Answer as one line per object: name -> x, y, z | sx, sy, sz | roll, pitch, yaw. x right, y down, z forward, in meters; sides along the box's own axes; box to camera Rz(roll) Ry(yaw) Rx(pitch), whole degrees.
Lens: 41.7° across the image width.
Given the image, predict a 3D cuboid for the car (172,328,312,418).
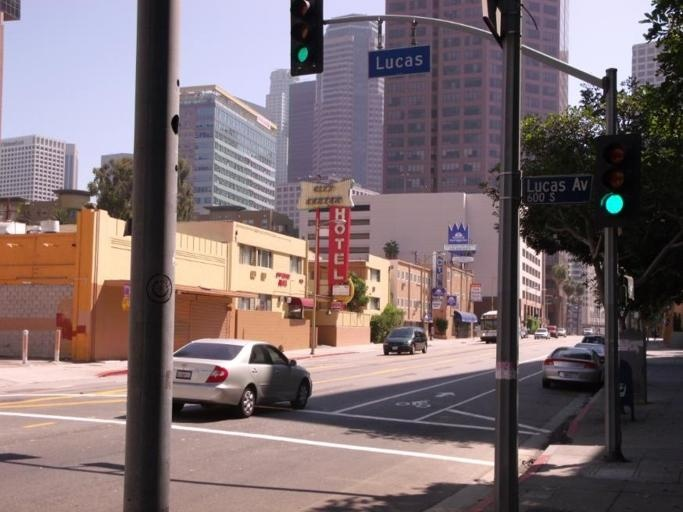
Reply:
car -> -2.608, 3.018, 22.470 | 1.287, 1.916, 3.953 | -4, -6, 42
